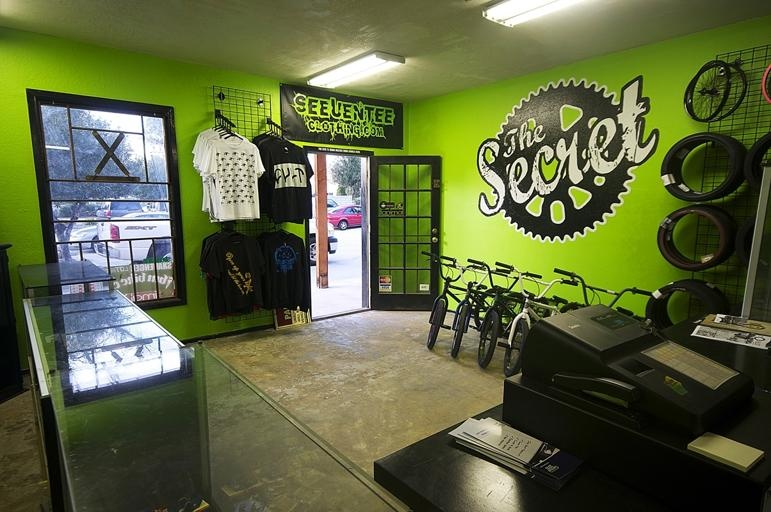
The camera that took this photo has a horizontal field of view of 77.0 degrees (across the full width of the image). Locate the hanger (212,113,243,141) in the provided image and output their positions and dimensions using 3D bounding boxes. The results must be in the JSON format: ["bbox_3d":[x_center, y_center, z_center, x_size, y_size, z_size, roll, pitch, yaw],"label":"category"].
[{"bbox_3d":[-1.725,-1.393,5.180,0.120,0.264,0.451,-7,-2,14],"label":"hanger"}]

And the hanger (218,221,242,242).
[{"bbox_3d":[-1.698,-0.276,5.283,0.194,0.083,0.258,-13,24,-39],"label":"hanger"}]

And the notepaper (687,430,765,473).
[{"bbox_3d":[1.364,0.781,1.937,0.161,0.031,0.166,-11,14,-34],"label":"notepaper"}]

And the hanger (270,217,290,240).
[{"bbox_3d":[-1.244,-0.320,5.607,0.178,0.211,0.244,9,6,17],"label":"hanger"}]
